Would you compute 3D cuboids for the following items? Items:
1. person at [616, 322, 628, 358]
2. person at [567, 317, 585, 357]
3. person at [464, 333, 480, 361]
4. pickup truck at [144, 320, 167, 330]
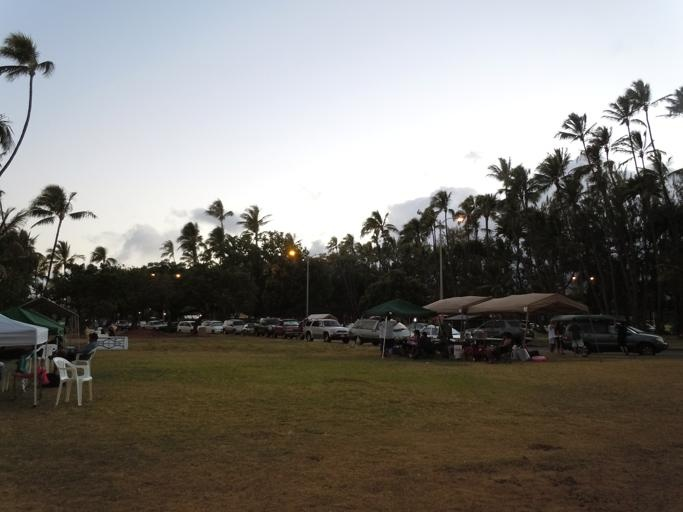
[{"bbox_3d":[13.061,3.790,26.871,0.396,1.542,1.214,-1,-3,31],"label":"person"},{"bbox_3d":[11.087,3.752,27.125,0.733,1.603,1.693,-1,-3,22],"label":"person"},{"bbox_3d":[5.770,4.166,25.610,0.522,0.435,0.886,-2,11,3],"label":"person"},{"bbox_3d":[-24.893,9.137,76.965,1.903,0.926,3.009,2,2,-36],"label":"pickup truck"}]
